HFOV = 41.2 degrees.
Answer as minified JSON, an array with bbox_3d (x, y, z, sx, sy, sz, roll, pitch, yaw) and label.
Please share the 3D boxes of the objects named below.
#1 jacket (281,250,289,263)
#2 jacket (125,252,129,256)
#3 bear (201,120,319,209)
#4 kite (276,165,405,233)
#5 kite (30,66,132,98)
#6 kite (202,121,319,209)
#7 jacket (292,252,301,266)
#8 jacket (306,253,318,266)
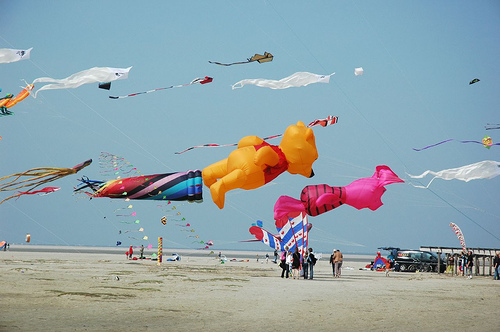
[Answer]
[{"bbox_3d":[1.890,4.889,35.701,0.202,0.574,0.404,11,-6,-27],"label":"jacket"},{"bbox_3d":[-9.840,6.998,53.125,0.293,0.298,0.103,22,-52,-40],"label":"jacket"},{"bbox_3d":[0.540,-0.195,28.798,5.203,2.672,2.426,-15,23,-16],"label":"bear"},{"bbox_3d":[4.317,1.498,31.472,6.017,2.489,2.814,-10,11,8],"label":"kite"},{"bbox_3d":[-7.359,-3.770,29.252,4.463,1.394,1.346,-10,20,-25],"label":"kite"},{"bbox_3d":[0.511,0.011,29.100,5.409,3.019,2.746,-15,7,-11],"label":"kite"},{"bbox_3d":[2.402,4.837,34.558,0.473,0.680,0.275,12,-8,-44],"label":"jacket"},{"bbox_3d":[3.420,4.974,35.523,0.404,0.521,0.943,-5,-18,32],"label":"jacket"}]
